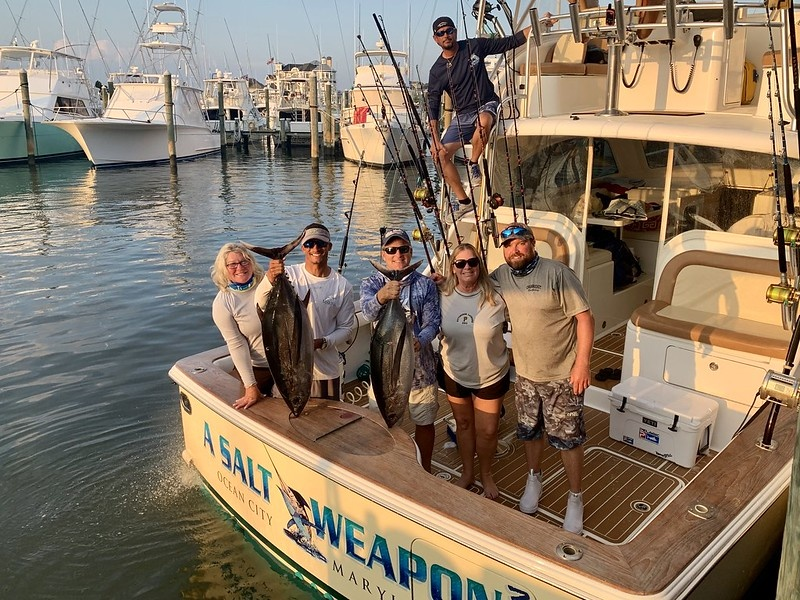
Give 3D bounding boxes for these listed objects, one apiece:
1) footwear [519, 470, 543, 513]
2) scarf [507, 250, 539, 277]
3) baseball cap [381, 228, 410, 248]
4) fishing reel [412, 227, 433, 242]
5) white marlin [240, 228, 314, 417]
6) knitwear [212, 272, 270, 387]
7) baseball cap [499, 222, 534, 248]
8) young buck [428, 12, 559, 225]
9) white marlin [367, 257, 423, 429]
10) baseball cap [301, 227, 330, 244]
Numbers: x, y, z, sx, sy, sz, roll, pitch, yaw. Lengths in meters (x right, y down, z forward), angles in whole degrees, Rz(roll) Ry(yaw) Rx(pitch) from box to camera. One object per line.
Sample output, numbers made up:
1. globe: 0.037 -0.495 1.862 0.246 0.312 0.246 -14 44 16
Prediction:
1. footwear: 0.909 1.266 3.930 0.110 0.196 0.322 0 19 22
2. scarf: 0.803 -0.221 3.675 0.187 0.131 0.094 -1 16 12
3. baseball cap: -0.040 -0.422 3.785 0.161 0.130 0.279 1 -8 -4
4. fishing reel: 0.177 -0.502 4.481 0.111 0.128 0.159 -5 -20 19
5. white marlin: -0.789 0.126 3.686 0.431 1.091 0.487 2 13 -18
6. knitwear: -1.128 0.208 4.161 0.509 0.715 0.255 -22 8 -29
7. baseball cap: 0.761 -0.418 3.700 0.201 0.141 0.218 0 17 16
8. young buck: 0.896 -1.929 5.726 1.317 1.886 0.694 -11 9 -6
9. white marlin: -0.046 0.265 3.614 0.338 0.948 0.378 6 11 -2
10. baseball cap: -0.570 -0.436 3.935 0.179 0.096 0.267 0 4 0
